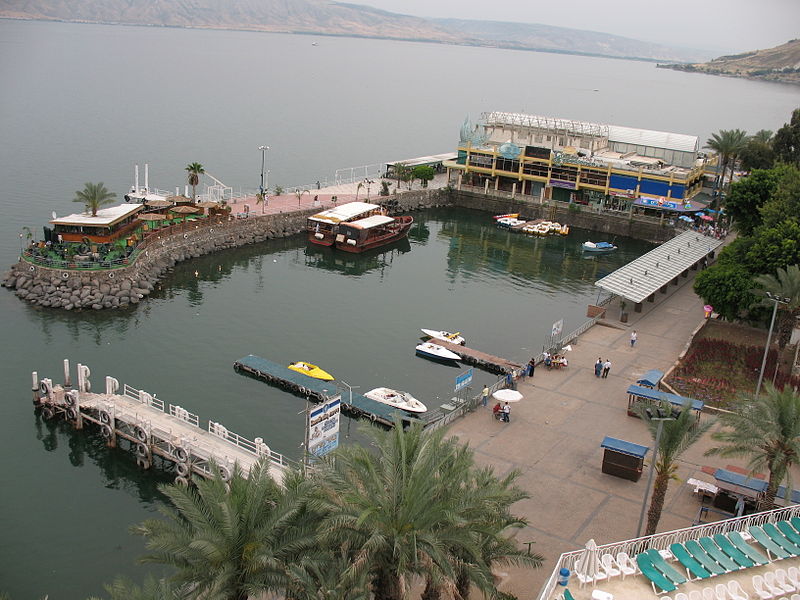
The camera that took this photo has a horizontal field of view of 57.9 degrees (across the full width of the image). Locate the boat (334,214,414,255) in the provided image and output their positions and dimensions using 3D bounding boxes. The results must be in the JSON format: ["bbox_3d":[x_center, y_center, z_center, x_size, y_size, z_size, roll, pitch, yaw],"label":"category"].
[{"bbox_3d":[-2.933,-9.305,96.957,4.432,4.098,14.239,8,17,31],"label":"boat"}]

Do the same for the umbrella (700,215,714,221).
[{"bbox_3d":[43.312,-11.515,102.270,1.720,0.911,2.502,5,15,18],"label":"umbrella"}]
